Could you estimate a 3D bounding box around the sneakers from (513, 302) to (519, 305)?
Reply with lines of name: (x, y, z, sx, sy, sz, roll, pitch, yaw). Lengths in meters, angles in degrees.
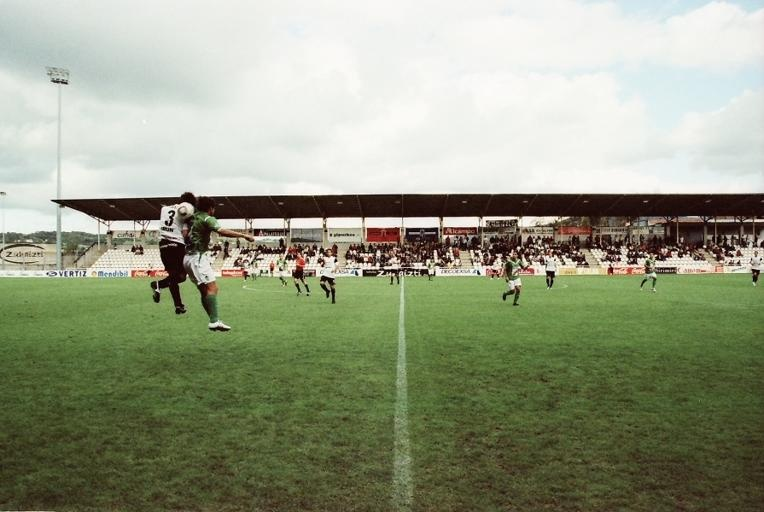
sneakers: (4.546, 1.641, 18.895, 0.179, 0.060, 0.121, -15, -45, 2)

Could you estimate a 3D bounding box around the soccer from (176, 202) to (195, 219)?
soccer: (-3.956, -0.929, 11.216, 0.273, 0.304, 0.223, 16, -43, -24)
